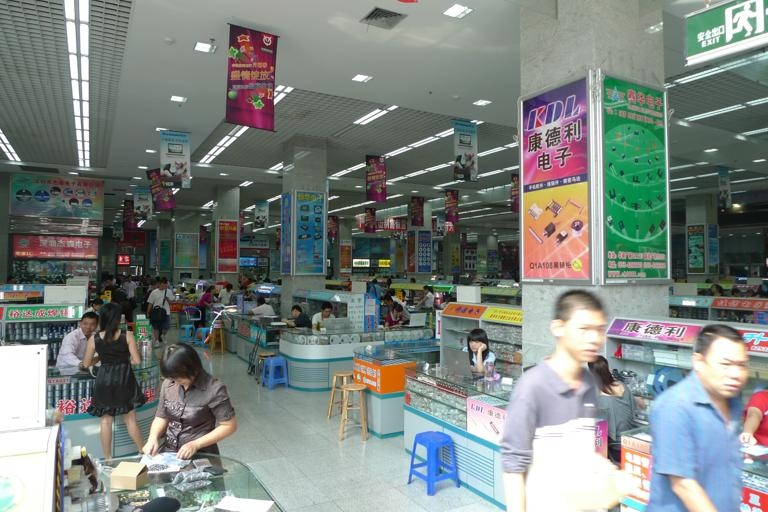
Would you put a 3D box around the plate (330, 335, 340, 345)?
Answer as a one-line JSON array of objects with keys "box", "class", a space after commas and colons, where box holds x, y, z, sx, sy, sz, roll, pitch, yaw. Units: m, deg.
[{"box": [-0.910, 1.531, 9.125, 0.203, 0.167, 0.063, 3, -2, -22], "class": "plate"}]

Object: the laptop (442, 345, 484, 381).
[{"box": [0.980, 1.297, 6.065, 0.358, 0.300, 0.497, -1, -1, -36], "class": "laptop"}]

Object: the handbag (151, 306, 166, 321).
[{"box": [-5.441, 1.368, 11.935, 0.418, 0.366, 0.198, 0, -2, -40], "class": "handbag"}]

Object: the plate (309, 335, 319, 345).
[{"box": [-1.257, 1.513, 9.011, 0.162, 0.140, 0.156, 0, -1, 29], "class": "plate"}]

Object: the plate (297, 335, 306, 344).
[{"box": [-1.501, 1.524, 9.099, 0.170, 0.147, 0.037, 3, -2, 23], "class": "plate"}]

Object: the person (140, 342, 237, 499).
[{"box": [-1.643, 1.205, 4.149, 0.768, 0.986, 0.364, -2, 4, 13], "class": "person"}]

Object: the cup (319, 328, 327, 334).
[{"box": [-1.143, 1.397, 9.350, 0.082, 0.073, 0.082, 0, -8, 0], "class": "cup"}]

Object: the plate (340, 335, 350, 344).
[{"box": [-0.723, 1.535, 9.211, 0.192, 0.156, 0.099, 2, 2, -14], "class": "plate"}]

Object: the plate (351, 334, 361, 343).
[{"box": [-0.538, 1.533, 9.292, 0.187, 0.143, 0.057, 2, -4, -12], "class": "plate"}]
